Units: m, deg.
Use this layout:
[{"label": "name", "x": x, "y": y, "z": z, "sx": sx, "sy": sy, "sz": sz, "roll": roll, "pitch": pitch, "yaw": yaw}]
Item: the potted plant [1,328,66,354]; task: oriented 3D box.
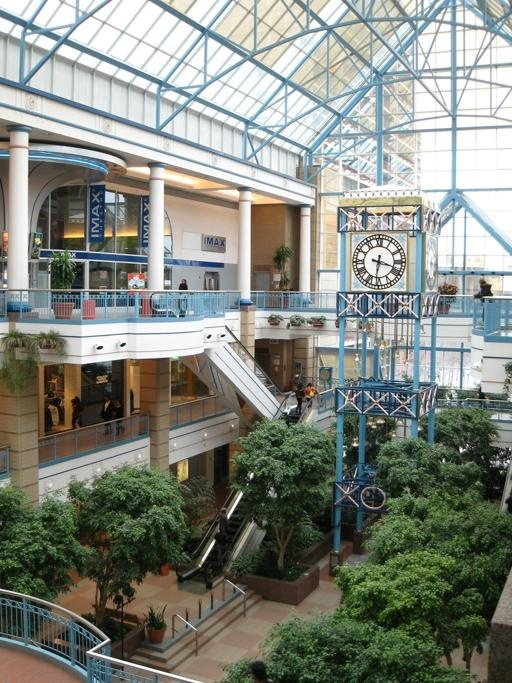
[{"label": "potted plant", "x": -5.163, "y": 0.013, "z": 15.779, "sx": 1.405, "sy": 0.542, "sz": 0.517, "roll": 4, "pitch": 5, "yaw": 17}]

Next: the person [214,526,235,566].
[{"label": "person", "x": -0.993, "y": 6.323, "z": 21.585, "sx": 0.564, "sy": 1.229, "sz": 1.744, "roll": 2, "pitch": 5, "yaw": -2}]

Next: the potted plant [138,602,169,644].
[{"label": "potted plant", "x": -2.375, "y": 6.747, "z": 16.377, "sx": 0.787, "sy": 1.115, "sz": 0.662, "roll": -1, "pitch": -3, "yaw": 15}]

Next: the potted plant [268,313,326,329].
[{"label": "potted plant", "x": 1.937, "y": -0.932, "z": 31.986, "sx": 2.826, "sy": 0.699, "sz": 0.537, "roll": 4, "pitch": 5, "yaw": 24}]

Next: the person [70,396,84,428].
[{"label": "person", "x": -5.994, "y": 2.431, "z": 22.799, "sx": 0.401, "sy": 1.105, "sz": 2.187, "roll": 1, "pitch": 5, "yaw": -15}]

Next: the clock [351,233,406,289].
[{"label": "clock", "x": 3.728, "y": -2.454, "z": 20.120, "sx": 1.699, "sy": 1.605, "sz": 0.122, "roll": 4, "pitch": 11, "yaw": 24}]

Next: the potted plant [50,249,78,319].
[{"label": "potted plant", "x": -4.560, "y": -1.348, "z": 16.059, "sx": 0.556, "sy": 1.614, "sz": 1.164, "roll": 1, "pitch": 5, "yaw": -16}]
